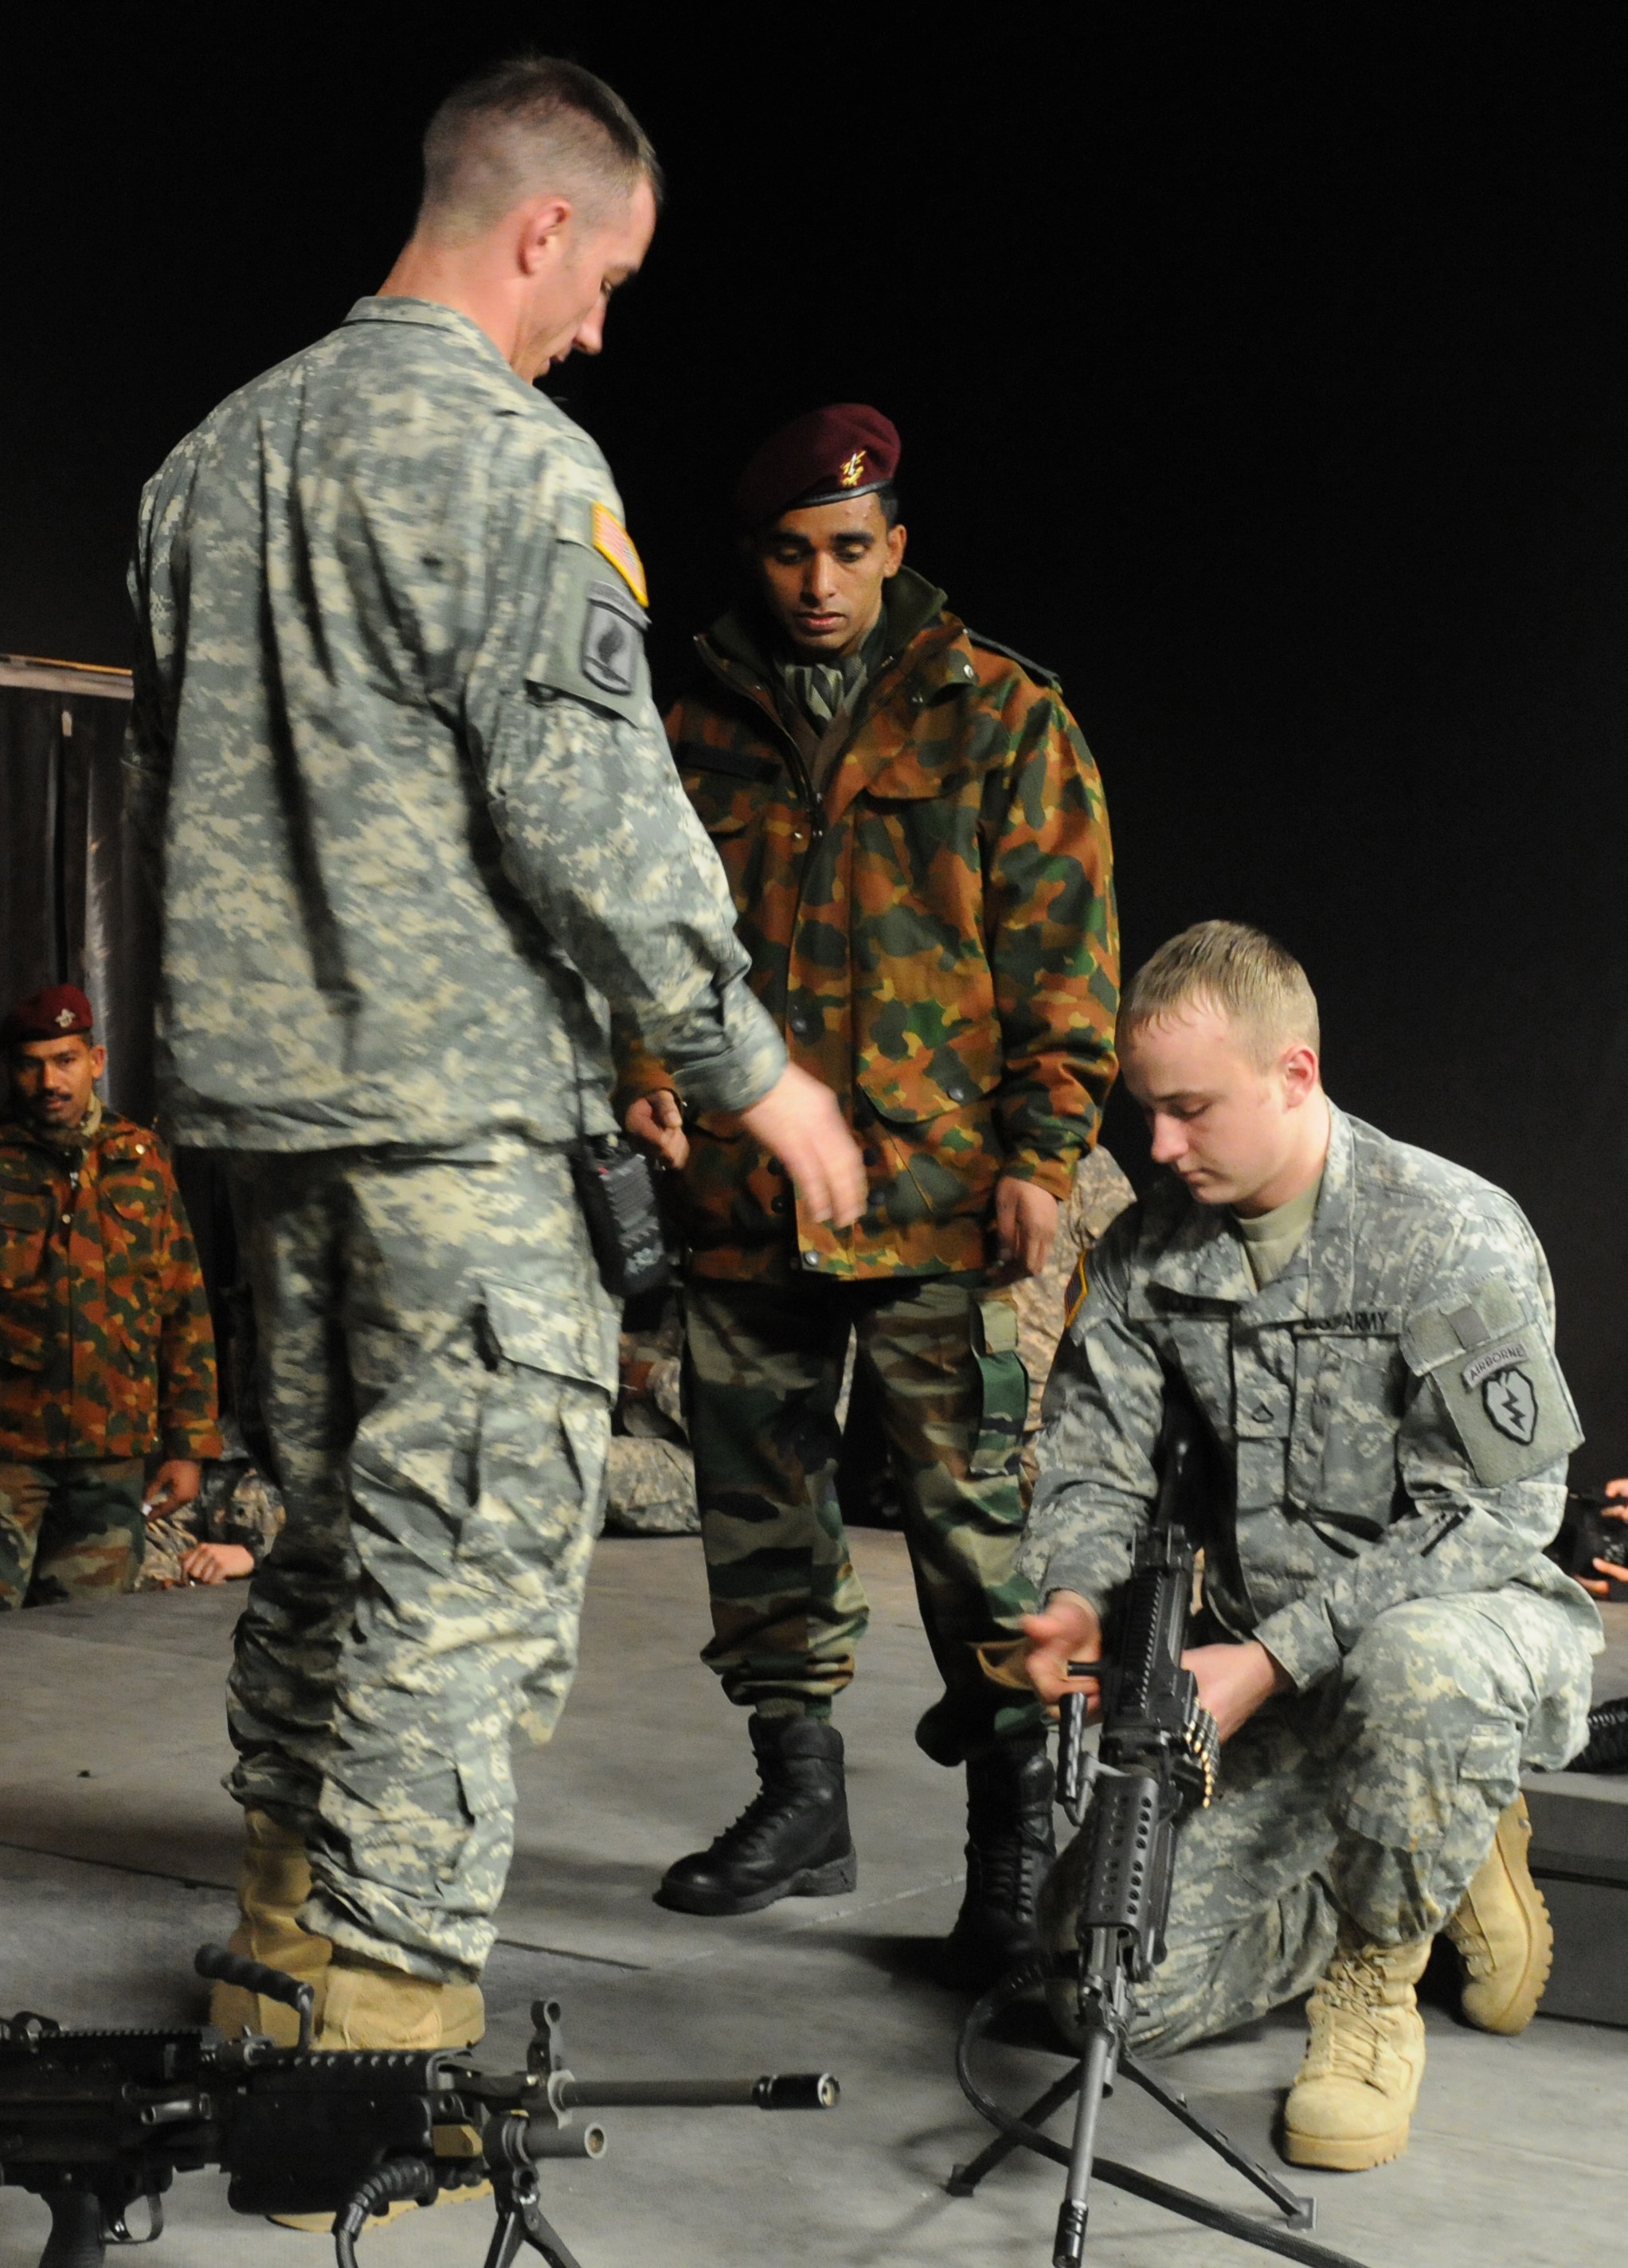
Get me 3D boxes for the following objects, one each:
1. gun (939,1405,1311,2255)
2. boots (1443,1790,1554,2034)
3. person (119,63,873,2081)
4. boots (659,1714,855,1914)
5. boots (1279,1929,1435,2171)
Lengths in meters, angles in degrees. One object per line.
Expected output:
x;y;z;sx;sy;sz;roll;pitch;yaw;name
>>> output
0.220;0.494;1.623;0.232;0.518;0.254;5;-34;9;gun
0.639;0.744;2.206;0.125;0.225;0.086;-7;11;-20;boots
-0.271;-0.063;1.724;0.501;1.265;0.366;5;-4;39;person
-0.062;0.756;2.589;0.274;0.195;0.109;7;-8;-44;boots
0.428;0.737;1.841;0.079;0.117;0.218;-3;-13;22;boots
